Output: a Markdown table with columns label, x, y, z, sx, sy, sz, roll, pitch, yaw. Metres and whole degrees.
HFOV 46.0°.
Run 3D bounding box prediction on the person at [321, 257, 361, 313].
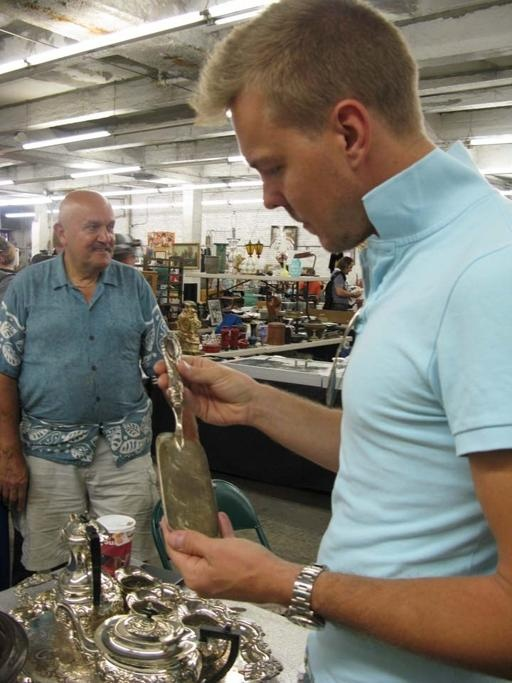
| label | x | y | z | sx | sy | sz | roll | pitch | yaw |
| --- | --- | --- | --- | --- | --- | --- | --- | --- | --- |
| person | 1.323 | -0.617 | 9.059 | 0.670 | 1.233 | 0.451 | 0 | 14 | 1 |

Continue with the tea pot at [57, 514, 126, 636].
| label | x | y | z | sx | sy | sz | roll | pitch | yaw |
| --- | --- | --- | --- | --- | --- | --- | --- | --- | --- |
| tea pot | -0.314 | 0.437 | 1.112 | 0.120 | 0.181 | 0.134 | -8 | -10 | 36 |

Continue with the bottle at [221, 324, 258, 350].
| label | x | y | z | sx | sy | sz | roll | pitch | yaw |
| --- | --- | --- | --- | --- | --- | --- | --- | --- | --- |
| bottle | -0.155 | -0.032 | 5.365 | 0.255 | 0.135 | 0.375 | -1 | 4 | 0 |

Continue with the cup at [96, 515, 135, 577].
| label | x | y | z | sx | sy | sz | roll | pitch | yaw |
| --- | --- | --- | --- | --- | --- | --- | --- | --- | --- |
| cup | -0.312 | 0.447 | 1.326 | 0.093 | 0.101 | 0.090 | 1 | -2 | 0 |

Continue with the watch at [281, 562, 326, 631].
| label | x | y | z | sx | sy | sz | roll | pitch | yaw |
| --- | --- | --- | --- | --- | --- | --- | --- | --- | --- |
| watch | 0.064 | 0.296 | 0.713 | 0.059 | 0.059 | 0.065 | 2 | 6 | 25 |
